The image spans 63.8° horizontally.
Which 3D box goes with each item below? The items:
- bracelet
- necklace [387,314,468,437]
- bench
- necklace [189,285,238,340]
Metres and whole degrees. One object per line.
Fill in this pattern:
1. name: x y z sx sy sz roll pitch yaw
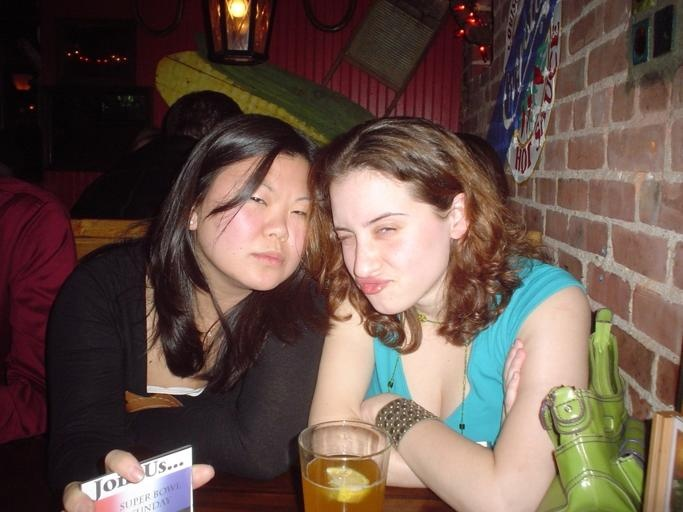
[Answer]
1. bracelet: 0.196 0.479 1.645 0.169 0.066 0.129 -22 -2 -4
2. necklace: 0.342 0.430 1.847 0.241 0.429 0.103 2 9 15
3. bench: -0.978 -0.050 2.336 0.221 0.168 0.125 -1 25 -6
4. necklace: -0.482 0.205 2.046 0.136 0.200 0.069 8 9 0
